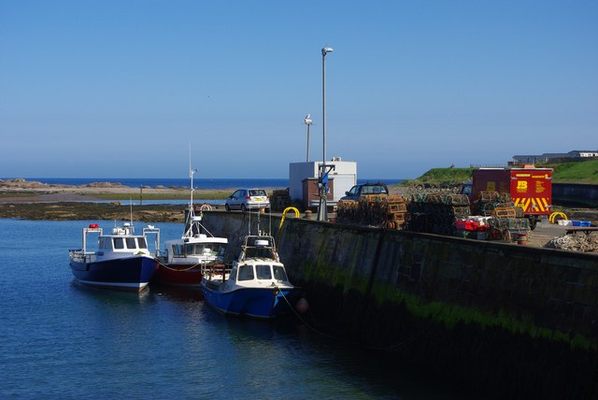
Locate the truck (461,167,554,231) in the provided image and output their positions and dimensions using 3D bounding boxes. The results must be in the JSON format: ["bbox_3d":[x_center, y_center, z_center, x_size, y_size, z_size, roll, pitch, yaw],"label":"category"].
[{"bbox_3d":[11.424,-0.594,36.185,3.623,3.825,5.870,1,0,-8],"label":"truck"}]

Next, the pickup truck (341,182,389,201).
[{"bbox_3d":[4.087,-0.481,39.015,2.433,1.266,3.222,-1,10,-2],"label":"pickup truck"}]
